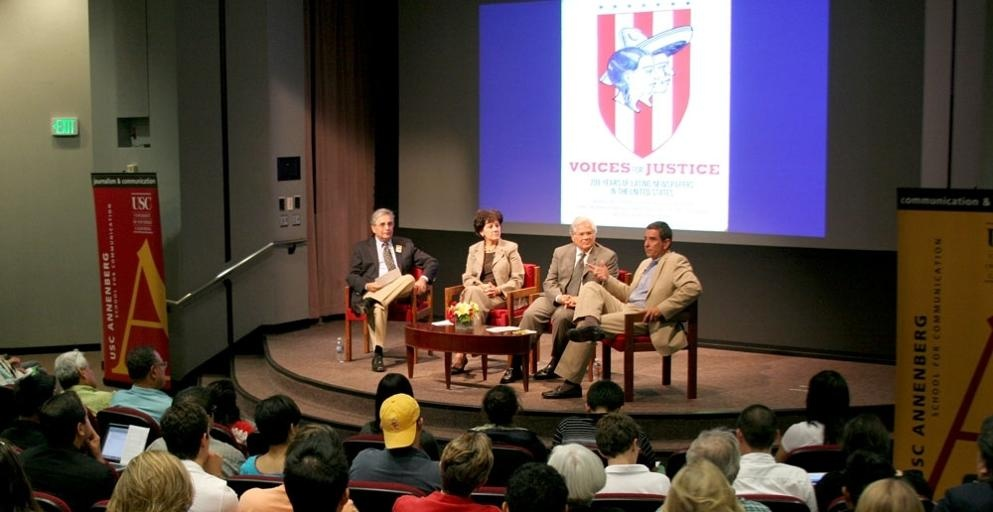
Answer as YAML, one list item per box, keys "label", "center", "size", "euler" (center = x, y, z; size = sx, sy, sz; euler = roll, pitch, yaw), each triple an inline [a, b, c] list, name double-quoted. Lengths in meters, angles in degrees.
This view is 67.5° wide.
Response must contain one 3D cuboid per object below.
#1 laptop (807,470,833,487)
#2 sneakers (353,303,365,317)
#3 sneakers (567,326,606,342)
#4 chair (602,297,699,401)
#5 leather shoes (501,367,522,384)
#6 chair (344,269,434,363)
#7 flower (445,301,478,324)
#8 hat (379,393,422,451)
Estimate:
- label: "laptop"
  center: [2.599, 1.776, 5.965]
  size: [0.167, 0.053, 0.242]
  euler: [0, 3, 27]
- label: "sneakers"
  center: [-1.658, 0.637, 8.971]
  size: [0.113, 0.201, 0.286]
  euler: [-3, 7, -23]
- label: "sneakers"
  center: [0.960, 0.822, 7.894]
  size: [0.432, 0.138, 0.161]
  euler: [-1, 9, -5]
- label: "chair"
  center: [1.693, 0.970, 8.290]
  size: [1.049, 1.012, 1.057]
  euler: [-2, -4, 38]
- label: "leather shoes"
  center: [0.176, 1.343, 8.358]
  size: [0.315, 0.123, 0.112]
  euler: [0, 1, -32]
- label: "chair"
  center: [-1.375, 0.637, 9.372]
  size: [1.012, 1.176, 0.812]
  euler: [-1, 4, 6]
- label: "flower"
  center: [-0.358, 0.630, 8.297]
  size: [0.273, 0.167, 0.258]
  euler: [1, -4, 1]
- label: "hat"
  center: [-0.744, 1.298, 5.832]
  size: [0.301, 0.402, 0.172]
  euler: [-3, -31, 4]
